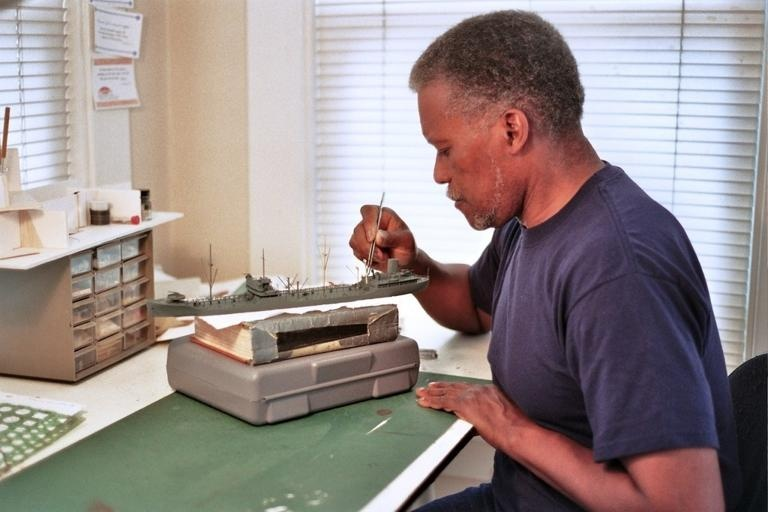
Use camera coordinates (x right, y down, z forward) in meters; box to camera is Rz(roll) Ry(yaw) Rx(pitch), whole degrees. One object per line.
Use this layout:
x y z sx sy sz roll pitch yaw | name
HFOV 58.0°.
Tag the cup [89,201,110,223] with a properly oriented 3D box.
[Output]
-0.825 -0.133 2.071 0.062 0.070 0.062 0 3 0 | cup
